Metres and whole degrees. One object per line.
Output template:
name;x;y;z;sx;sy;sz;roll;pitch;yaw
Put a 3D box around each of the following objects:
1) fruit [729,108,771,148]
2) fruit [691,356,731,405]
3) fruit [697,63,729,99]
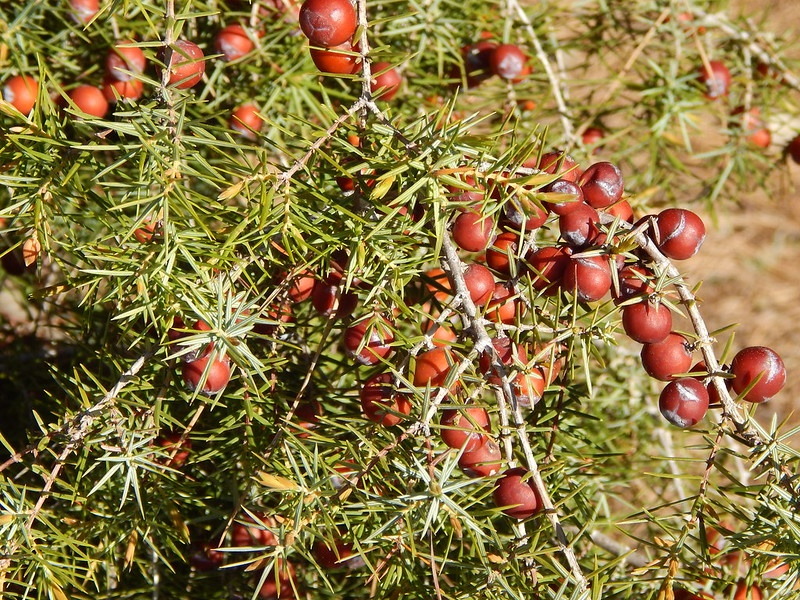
fruit;0.471;-0.223;1.128;0.049;0.029;0.062;-43;113;-31
fruit;0.291;0.077;0.778;0.034;0.035;0.041;-26;87;9
fruit;0.390;-0.274;1.037;0.048;0.029;0.048;-12;95;-33
